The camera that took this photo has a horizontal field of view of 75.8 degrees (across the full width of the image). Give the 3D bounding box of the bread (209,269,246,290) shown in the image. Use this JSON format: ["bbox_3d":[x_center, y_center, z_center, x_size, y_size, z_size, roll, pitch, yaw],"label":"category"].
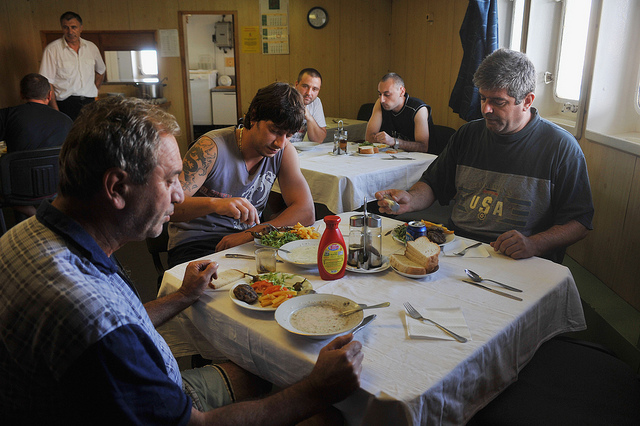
[{"bbox_3d":[-0.380,0.260,1.662,0.059,0.015,0.106,13,26,35],"label":"bread"}]

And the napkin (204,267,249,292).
[{"bbox_3d":[-0.368,0.271,1.648,0.101,0.014,0.091,-15,25,-27],"label":"napkin"}]

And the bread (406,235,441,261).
[{"bbox_3d":[0.437,0.146,1.734,0.099,0.027,0.096,-16,38,-41],"label":"bread"}]

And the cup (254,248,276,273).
[{"bbox_3d":[-0.226,0.196,1.694,0.078,0.083,0.100,1,4,8],"label":"cup"}]

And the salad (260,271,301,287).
[{"bbox_3d":[-0.173,0.257,1.618,0.064,0.023,0.063,-1,15,-36],"label":"salad"}]

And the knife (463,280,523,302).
[{"bbox_3d":[0.671,0.304,1.593,0.189,0.010,0.021,16,30,41],"label":"knife"}]

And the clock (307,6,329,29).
[{"bbox_3d":[-0.058,-3.322,6.942,0.281,0.287,0.039,-17,26,3],"label":"clock"}]

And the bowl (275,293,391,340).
[{"bbox_3d":[-0.002,0.356,1.439,0.252,0.035,0.172,-6,20,-16],"label":"bowl"}]

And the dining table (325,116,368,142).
[{"bbox_3d":[0.319,-1.111,5.365,0.601,0.221,0.587,-15,25,-37],"label":"dining table"}]

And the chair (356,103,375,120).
[{"bbox_3d":[0.718,-1.599,6.478,0.268,0.373,0.257,10,19,17],"label":"chair"}]

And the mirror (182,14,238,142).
[{"bbox_3d":[-2.467,-3.184,9.364,1.079,2.597,2.850,-5,20,-14],"label":"mirror"}]

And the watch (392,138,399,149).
[{"bbox_3d":[0.727,-0.679,4.021,0.060,0.084,0.090,14,16,-4],"label":"watch"}]
